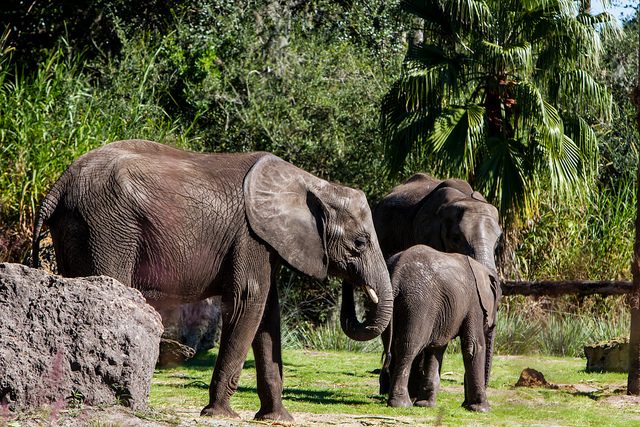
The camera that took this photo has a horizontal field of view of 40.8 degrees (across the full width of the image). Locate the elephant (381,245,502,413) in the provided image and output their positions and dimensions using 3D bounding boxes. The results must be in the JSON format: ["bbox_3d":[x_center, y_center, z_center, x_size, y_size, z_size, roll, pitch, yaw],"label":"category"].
[{"bbox_3d":[1.915,1.714,12.508,2.291,2.410,1.096,9,-4,-35],"label":"elephant"}]

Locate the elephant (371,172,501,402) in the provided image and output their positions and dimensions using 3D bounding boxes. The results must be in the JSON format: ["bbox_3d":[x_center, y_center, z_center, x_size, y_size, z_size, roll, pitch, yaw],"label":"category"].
[{"bbox_3d":[1.897,0.770,14.747,1.265,2.714,3.406,0,15,-24],"label":"elephant"}]
